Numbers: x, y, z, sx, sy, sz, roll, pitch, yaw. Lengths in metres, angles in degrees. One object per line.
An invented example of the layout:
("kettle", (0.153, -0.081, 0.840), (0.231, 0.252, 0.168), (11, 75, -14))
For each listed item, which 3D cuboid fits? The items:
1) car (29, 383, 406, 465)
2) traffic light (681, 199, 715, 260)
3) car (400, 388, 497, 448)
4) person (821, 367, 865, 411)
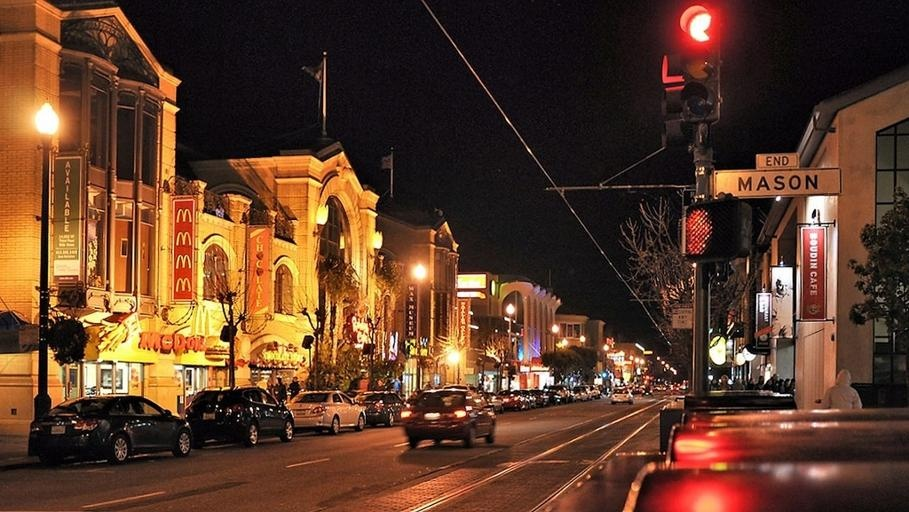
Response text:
("car", (-10.505, 6.445, 37.427), (2.871, 1.644, 9.934), (0, -2, 31))
("traffic light", (5.791, -0.584, 23.127), (1.180, 1.133, 0.310), (0, -2, 44))
("car", (-0.164, 6.663, 39.253), (3.678, 2.337, 1.666), (1, 2, -22))
("person", (12.117, 4.206, 30.239), (0.827, 1.149, 1.752), (2, 1, 16))
